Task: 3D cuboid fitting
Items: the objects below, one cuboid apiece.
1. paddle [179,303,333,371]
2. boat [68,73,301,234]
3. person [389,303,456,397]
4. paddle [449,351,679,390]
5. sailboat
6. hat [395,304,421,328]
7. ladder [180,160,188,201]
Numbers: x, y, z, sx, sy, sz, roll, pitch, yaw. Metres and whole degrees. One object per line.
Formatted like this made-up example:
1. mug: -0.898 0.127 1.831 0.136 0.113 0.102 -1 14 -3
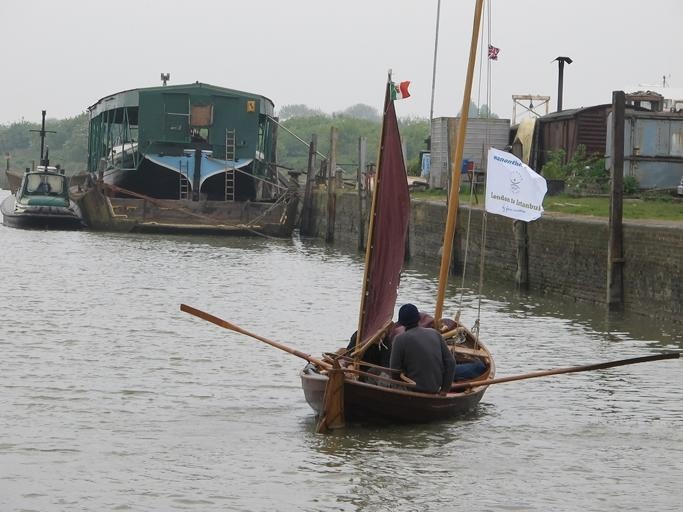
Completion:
1. paddle: -1.924 1.819 30.891 2.896 0.134 0.394 21 -29 9
2. boat: -6.902 -3.716 61.161 6.195 4.350 14.171 0 1 -7
3. person: 1.459 1.703 25.769 1.177 1.643 0.377 1 6 0
4. paddle: 4.417 2.324 28.251 3.426 0.178 0.262 -10 -37 6
5. sailboat: 1.082 -0.892 26.449 3.194 8.098 3.816 2 6 7
6. hat: 1.213 1.083 25.914 0.336 0.367 0.436 -1 6 -7
7. ladder: -6.233 -3.029 55.681 0.367 1.500 0.693 0 6 -7
